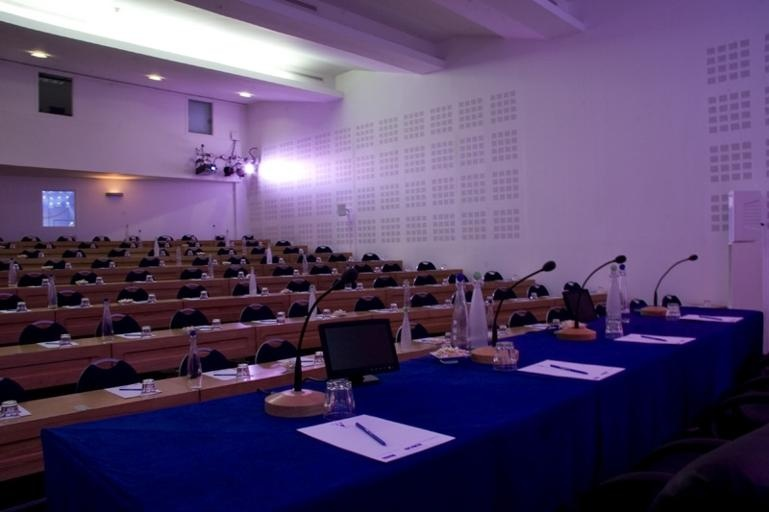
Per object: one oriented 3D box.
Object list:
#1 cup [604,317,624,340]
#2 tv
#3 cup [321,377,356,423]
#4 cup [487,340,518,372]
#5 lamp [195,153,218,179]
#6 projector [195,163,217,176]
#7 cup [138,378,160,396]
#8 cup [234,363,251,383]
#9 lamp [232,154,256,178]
[{"bbox_3d":[1.617,0.509,3.574,0.135,0.130,0.131,0,-7,0],"label":"cup"},{"bbox_3d":[-0.133,0.508,2.672,0.444,0.297,0.140,-2,0,-37],"label":"tv"},{"bbox_3d":[-0.193,0.617,2.249,0.157,0.164,0.153,-1,-1,0],"label":"cup"},{"bbox_3d":[0.666,0.545,2.868,0.161,0.150,0.113,-3,-3,34],"label":"cup"},{"bbox_3d":[-4.738,-2.484,14.046,0.678,0.701,0.521,-4,-3,30],"label":"lamp"},{"bbox_3d":[-4.800,-2.329,13.829,0.352,0.201,0.564,-6,4,-45],"label":"projector"},{"bbox_3d":[-1.375,0.759,3.040,0.126,0.115,0.102,0,-4,-35],"label":"cup"},{"bbox_3d":[-0.864,0.729,3.212,0.095,0.111,0.086,-4,-4,23],"label":"cup"},{"bbox_3d":[-4.014,-2.586,14.804,0.683,0.619,0.446,-5,3,-27],"label":"lamp"}]
